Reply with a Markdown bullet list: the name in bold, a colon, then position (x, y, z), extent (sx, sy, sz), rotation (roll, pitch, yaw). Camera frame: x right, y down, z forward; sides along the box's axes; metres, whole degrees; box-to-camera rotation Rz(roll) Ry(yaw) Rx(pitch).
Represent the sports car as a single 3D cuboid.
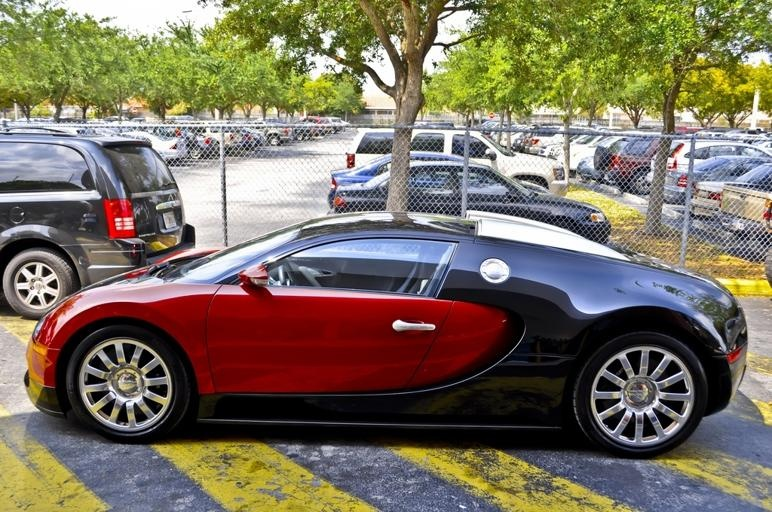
- **sports car**: position (0.254, 0.674, 5.077), extent (4.980, 1.165, 2.234), rotation (2, 1, 1)
